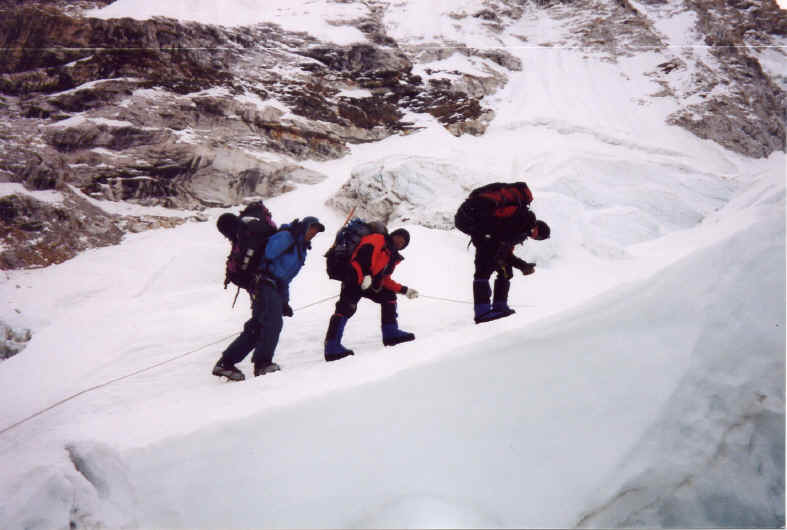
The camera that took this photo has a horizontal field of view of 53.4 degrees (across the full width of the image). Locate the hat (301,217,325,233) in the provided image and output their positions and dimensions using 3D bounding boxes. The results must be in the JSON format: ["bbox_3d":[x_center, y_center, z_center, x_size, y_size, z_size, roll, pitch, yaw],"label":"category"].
[{"bbox_3d":[-0.881,-0.447,8.519,0.225,0.101,0.137,-1,-12,-5],"label":"hat"}]

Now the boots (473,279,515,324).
[{"bbox_3d":[1.101,0.404,8.842,0.650,0.571,0.320,0,-7,-9],"label":"boots"}]

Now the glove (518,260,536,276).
[{"bbox_3d":[1.517,0.017,8.888,0.168,0.226,0.336,-1,17,14],"label":"glove"}]

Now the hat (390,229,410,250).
[{"bbox_3d":[0.067,-0.283,8.755,0.195,0.215,0.238,26,-10,-9],"label":"hat"}]

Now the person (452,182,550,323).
[{"bbox_3d":[1.175,-0.146,8.848,0.867,1.471,0.531,-6,17,-1],"label":"person"}]

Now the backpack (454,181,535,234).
[{"bbox_3d":[1.137,-0.691,8.808,0.828,0.478,0.260,-22,-22,2],"label":"backpack"}]

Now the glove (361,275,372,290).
[{"bbox_3d":[-0.296,0.189,8.456,0.141,0.120,0.107,-14,17,-34],"label":"glove"}]

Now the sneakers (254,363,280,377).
[{"bbox_3d":[-1.397,1.129,8.580,0.240,0.085,0.133,-7,7,-10],"label":"sneakers"}]

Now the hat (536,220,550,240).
[{"bbox_3d":[1.710,-0.397,8.934,0.133,0.282,0.327,-2,17,14],"label":"hat"}]
